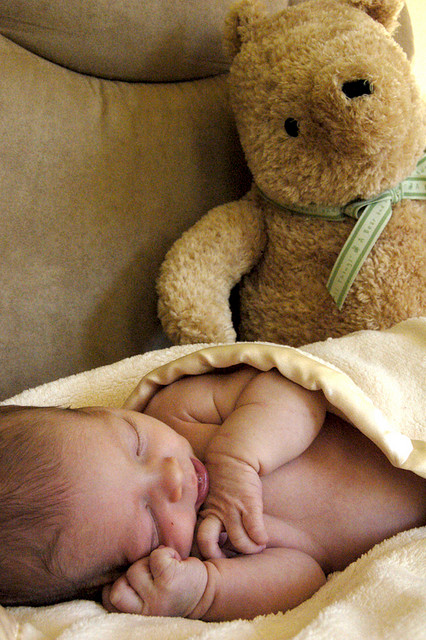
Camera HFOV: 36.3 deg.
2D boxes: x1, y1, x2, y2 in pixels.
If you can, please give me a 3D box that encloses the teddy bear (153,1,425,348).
[{"bbox_3d":[0.113,-0.206,0.958,0.479,0.273,0.429,-24,113,-20],"label":"teddy bear"}]
